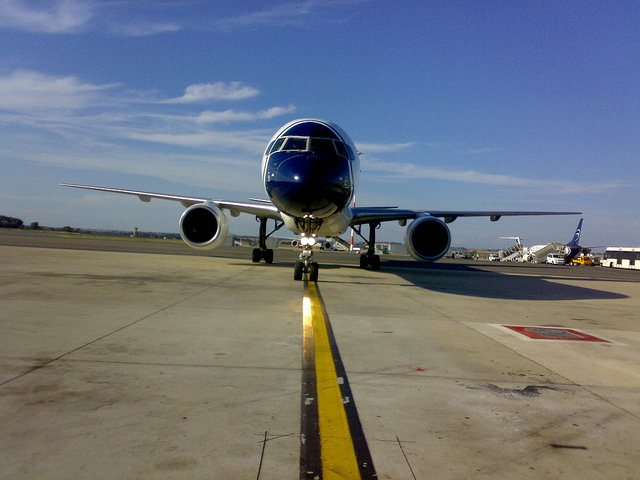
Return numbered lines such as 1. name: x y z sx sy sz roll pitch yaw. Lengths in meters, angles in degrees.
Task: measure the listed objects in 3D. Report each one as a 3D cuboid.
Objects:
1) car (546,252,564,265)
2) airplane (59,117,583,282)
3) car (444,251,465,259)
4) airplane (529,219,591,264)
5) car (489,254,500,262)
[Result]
1. car: 26.586 2.093 55.569 1.796 1.053 2.364 -1 -3 -8
2. airplane: -0.360 -0.990 13.614 9.149 2.351 7.225 1 -4 2
3. car: 16.371 1.840 59.696 2.581 0.876 3.115 0 -6 2
4. airplane: 29.673 0.950 63.727 8.808 3.095 8.148 -9 11 26
5. car: 26.991 2.677 75.995 1.376 0.899 2.033 -2 -7 19
